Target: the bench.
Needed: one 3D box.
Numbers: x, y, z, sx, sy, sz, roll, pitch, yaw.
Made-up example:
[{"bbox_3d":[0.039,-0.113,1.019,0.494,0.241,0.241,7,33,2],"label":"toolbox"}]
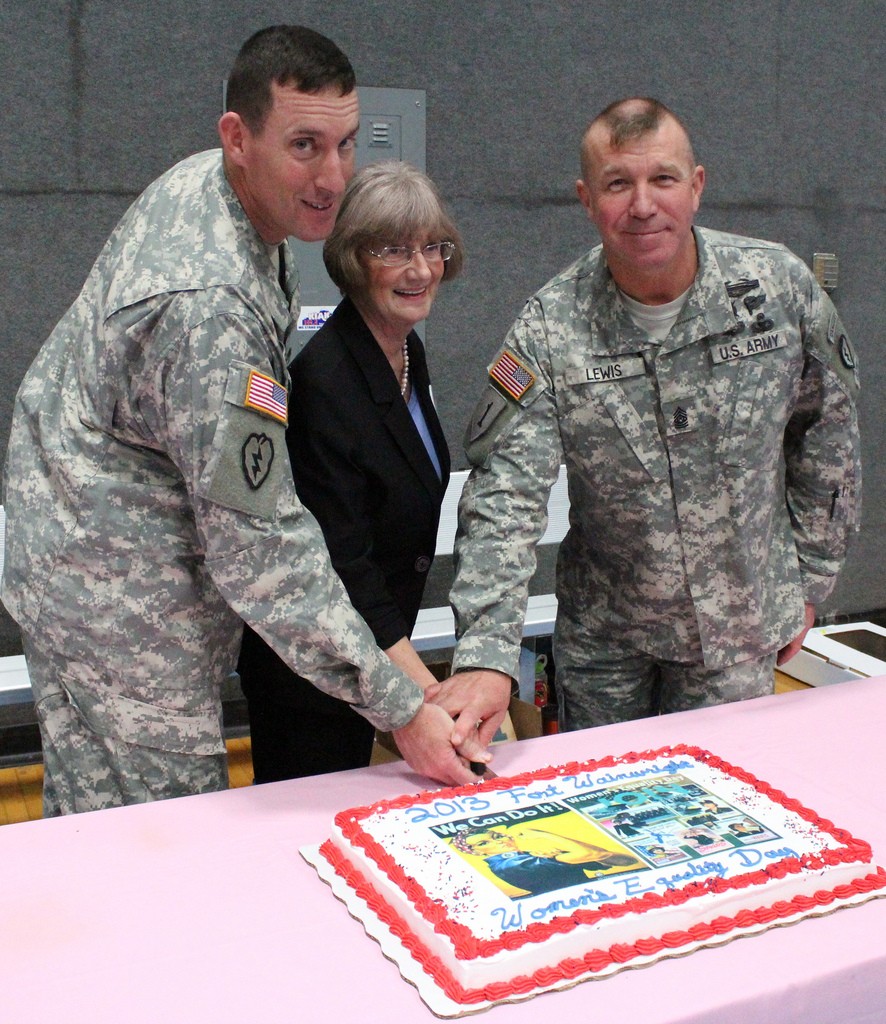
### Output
[{"bbox_3d":[-0.239,0.100,1.511,0.811,0.129,0.122,-2,32,-12],"label":"bench"}]
